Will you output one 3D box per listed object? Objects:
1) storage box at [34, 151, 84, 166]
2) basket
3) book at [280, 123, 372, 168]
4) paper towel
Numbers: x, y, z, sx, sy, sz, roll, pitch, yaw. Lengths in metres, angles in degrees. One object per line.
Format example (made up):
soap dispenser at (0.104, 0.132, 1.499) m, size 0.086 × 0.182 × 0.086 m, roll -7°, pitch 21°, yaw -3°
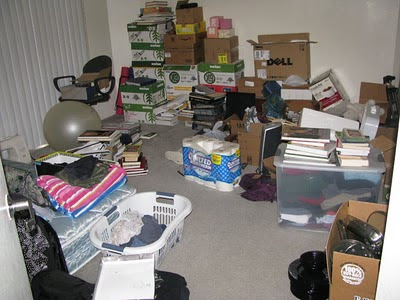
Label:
storage box at (-1.405, 0.101, 3.303) m, size 0.457 × 0.108 × 0.194 m, roll 4°, pitch 20°, yaw 22°
basket at (-0.421, 0.562, 2.734) m, size 0.545 × 0.267 × 0.726 m, roll 11°, pitch 27°, yaw 18°
book at (1.051, -0.018, 2.763) m, size 0.505 × 0.162 × 0.403 m, roll 3°, pitch 31°, yaw 12°
paper towel at (0.117, 0.137, 3.649) m, size 0.669 × 0.516 × 0.277 m, roll 12°, pitch 24°, yaw 38°
